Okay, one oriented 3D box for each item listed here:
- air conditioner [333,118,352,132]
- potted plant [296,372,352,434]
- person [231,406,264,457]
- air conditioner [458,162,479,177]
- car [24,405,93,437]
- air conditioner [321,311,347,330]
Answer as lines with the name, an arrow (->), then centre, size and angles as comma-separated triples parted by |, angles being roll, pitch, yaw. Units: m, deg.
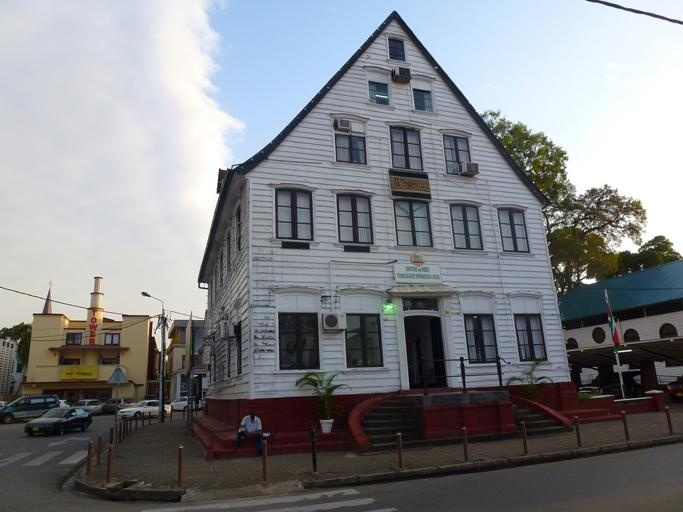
air conditioner -> 0.105, -5.851, 21.674 | 1.065, 0.497, 0.678 | 1, 11, -26
potted plant -> -0.515, 5.683, 18.874 | 2.227, 1.980, 1.943 | 6, -28, -9
person -> -3.041, 5.926, 16.561 | 1.095, 1.229, 1.065 | 4, -14, 14
air conditioner -> 6.003, -4.108, 22.944 | 0.762, 0.446, 0.703 | 1, -13, -2
car -> -15.754, 9.215, 27.366 | 1.472, 1.393, 3.463 | -4, -17, 5
air conditioner -> -0.312, 2.605, 19.496 | 1.262, 0.813, 0.634 | 2, -7, -12
